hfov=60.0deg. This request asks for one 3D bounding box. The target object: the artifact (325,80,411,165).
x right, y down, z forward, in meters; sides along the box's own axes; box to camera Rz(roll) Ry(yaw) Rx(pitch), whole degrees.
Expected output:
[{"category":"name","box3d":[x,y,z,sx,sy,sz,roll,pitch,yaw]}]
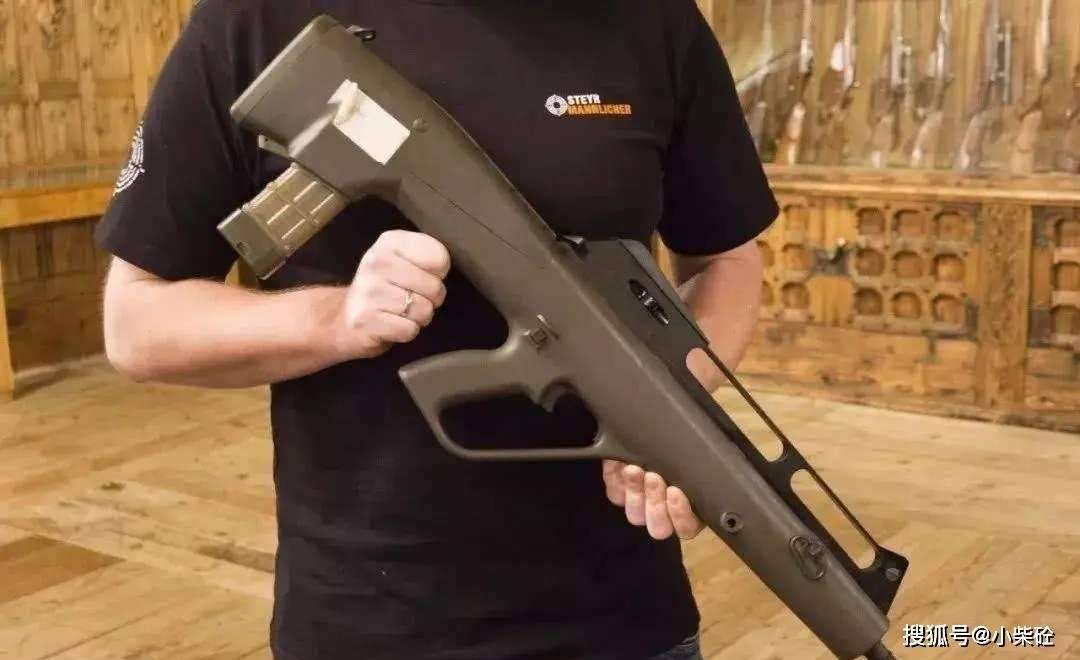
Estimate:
[{"category":"artifact","box3d":[-0.316,-0.385,1.737,0.169,0.097,0.040,40,7,-12]}]
